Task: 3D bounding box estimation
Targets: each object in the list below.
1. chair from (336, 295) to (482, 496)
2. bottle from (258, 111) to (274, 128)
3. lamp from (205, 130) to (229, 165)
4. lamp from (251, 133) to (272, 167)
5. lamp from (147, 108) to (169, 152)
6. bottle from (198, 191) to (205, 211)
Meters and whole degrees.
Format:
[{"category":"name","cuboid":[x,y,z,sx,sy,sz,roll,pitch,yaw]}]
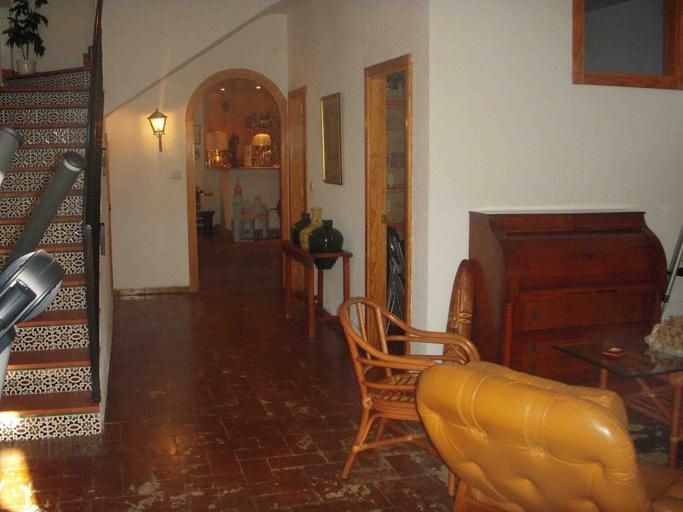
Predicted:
[{"category":"chair","cuboid":[0.397,0.745,3.811,1.044,1.478,1.077,-1,4,19]},{"category":"bottle","cuboid":[-2.120,-3.779,15.085,0.402,0.417,0.415,-1,7,-11]},{"category":"lamp","cuboid":[-3.351,-2.821,14.397,0.591,0.936,0.555,-2,6,-7]},{"category":"lamp","cuboid":[-2.131,-2.790,14.382,0.524,0.859,0.596,-2,6,-9]},{"category":"lamp","cuboid":[-2.705,-1.836,7.916,0.286,0.600,0.171,-3,6,-13]},{"category":"bottle","cuboid":[-3.944,-1.532,14.993,0.126,0.571,0.382,0,6,14]}]
